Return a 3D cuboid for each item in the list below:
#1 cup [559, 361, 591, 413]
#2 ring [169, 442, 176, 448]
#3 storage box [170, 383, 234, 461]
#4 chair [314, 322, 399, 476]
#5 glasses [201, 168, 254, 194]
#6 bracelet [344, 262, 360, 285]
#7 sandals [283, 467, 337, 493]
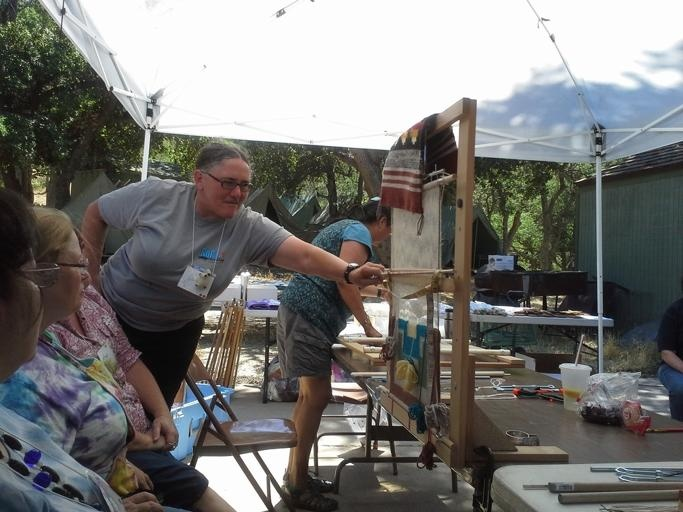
[{"bbox_3d":[1.037,0.591,2.345,0.159,0.193,0.168,3,-8,0],"label":"cup"},{"bbox_3d":[-0.654,0.732,1.997,0.015,0.011,0.022,-5,-12,38],"label":"ring"},{"bbox_3d":[-1.062,1.231,3.999,0.493,0.373,0.712,1,3,-4],"label":"storage box"},{"bbox_3d":[0.103,0.979,3.433,0.602,0.908,1.219,-1,1,-4],"label":"chair"},{"bbox_3d":[-0.516,-0.334,2.379,0.246,0.090,0.131,5,-6,-31],"label":"glasses"},{"bbox_3d":[0.045,0.075,2.315,0.059,0.089,0.089,2,-5,-14],"label":"bracelet"},{"bbox_3d":[-0.198,1.501,3.368,0.421,0.200,0.151,2,3,-4],"label":"sandals"}]
